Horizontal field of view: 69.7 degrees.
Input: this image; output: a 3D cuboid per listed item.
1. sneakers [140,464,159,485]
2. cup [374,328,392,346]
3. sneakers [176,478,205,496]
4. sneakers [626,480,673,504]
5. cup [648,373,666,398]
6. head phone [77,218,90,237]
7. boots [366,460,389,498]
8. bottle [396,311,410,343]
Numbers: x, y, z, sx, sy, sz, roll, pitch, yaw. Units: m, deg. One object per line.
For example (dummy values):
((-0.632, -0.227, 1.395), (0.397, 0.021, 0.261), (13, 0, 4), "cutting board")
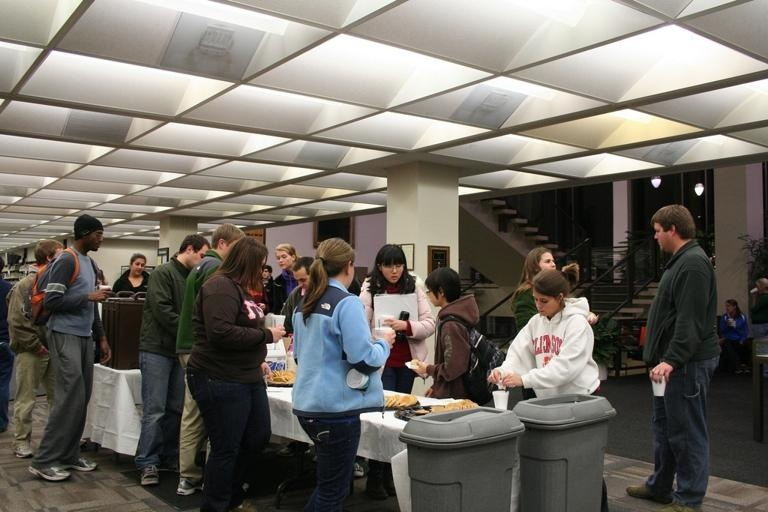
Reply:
((-2.322, 2.160, 5.443), (0.107, 0.111, 0.286), (2, -13, -21), "sneakers")
((-0.009, 0.575, 3.957), (0.109, 0.101, 0.109), (0, -2, 0), "cup")
((-1.824, 2.186, 5.265), (0.125, 0.150, 0.332), (-4, -16, 27), "sneakers")
((2.445, 2.152, 5.085), (0.382, 0.162, 0.138), (4, 2, 40), "sneakers")
((2.207, 1.053, 4.446), (0.101, 0.190, 0.261), (-1, -3, 27), "cup")
((-2.984, -0.287, 5.435), (0.138, 0.150, 0.157), (0, 8, 45), "head phone")
((-0.070, 2.071, 5.149), (0.219, 0.323, 0.186), (0, -3, -3), "boots")
((0.167, 0.639, 5.117), (0.111, 0.369, 0.094), (1, 37, 2), "bottle")
